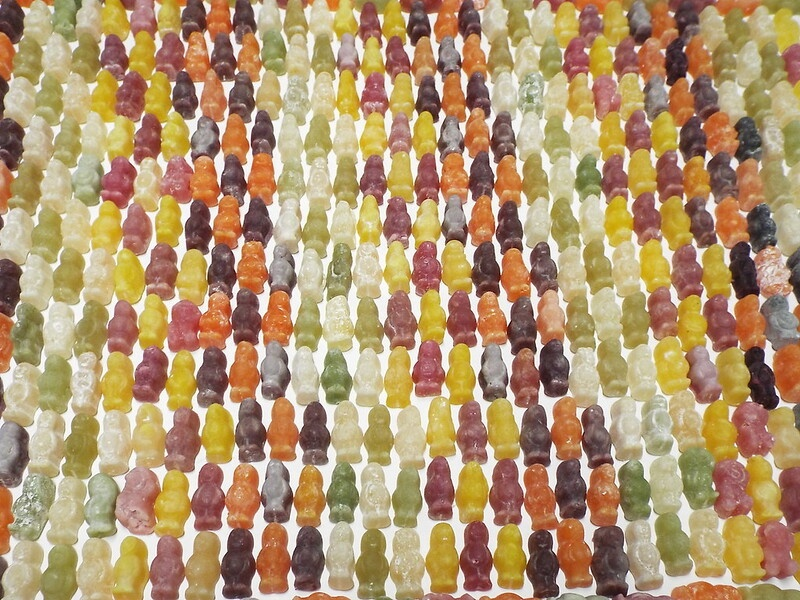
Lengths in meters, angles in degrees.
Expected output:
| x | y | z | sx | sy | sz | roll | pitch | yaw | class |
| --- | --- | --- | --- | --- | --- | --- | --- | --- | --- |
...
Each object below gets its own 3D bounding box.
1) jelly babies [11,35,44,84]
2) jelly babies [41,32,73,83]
| x | y | z | sx | sy | sz | roll | pitch | yaw | class |
| --- | --- | --- | --- | --- | --- | --- | --- | --- | --- |
| -2.236 | -1.445 | 6.403 | 0.176 | 0.092 | 0.280 | 3 | 73 | -18 | jelly babies |
| -2.072 | -1.459 | 6.462 | 0.169 | 0.095 | 0.292 | -12 | 76 | 13 | jelly babies |
